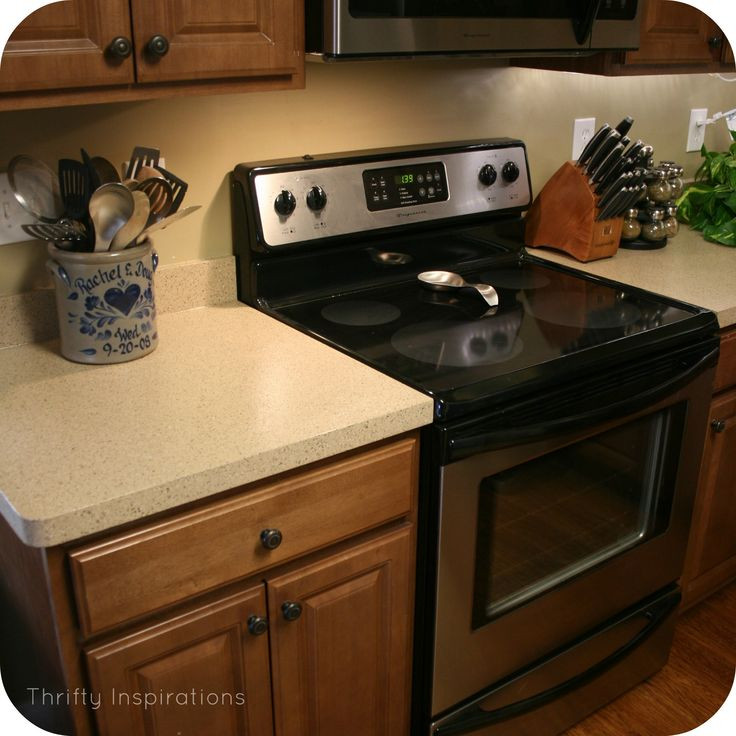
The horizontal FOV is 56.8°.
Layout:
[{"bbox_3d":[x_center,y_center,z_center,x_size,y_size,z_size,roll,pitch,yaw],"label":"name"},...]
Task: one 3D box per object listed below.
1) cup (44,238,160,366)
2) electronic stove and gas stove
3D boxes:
[{"bbox_3d":[-0.457,-0.122,1.186,0.173,0.176,0.176,1,17,0],"label":"cup"},{"bbox_3d":[0.229,-0.221,1.421,0.805,0.343,0.713,-16,32,-33],"label":"electronic stove and gas stove"}]
